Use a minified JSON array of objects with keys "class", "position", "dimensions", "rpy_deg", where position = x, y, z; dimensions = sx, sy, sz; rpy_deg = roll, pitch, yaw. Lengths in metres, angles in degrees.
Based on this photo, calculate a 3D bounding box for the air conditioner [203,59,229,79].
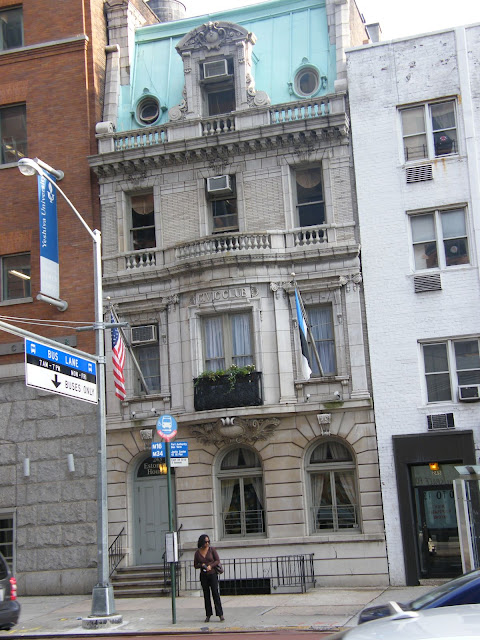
[{"class":"air conditioner","position":[-0.687,-7.351,33.744],"dimensions":[1.010,0.661,0.529],"rpy_deg":[1,4,18]}]

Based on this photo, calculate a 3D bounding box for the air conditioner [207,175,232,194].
[{"class":"air conditioner","position":[-0.597,-3.882,32.457],"dimensions":[0.722,0.599,0.731],"rpy_deg":[-4,-9,0]}]

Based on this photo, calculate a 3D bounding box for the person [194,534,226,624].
[{"class":"person","position":[-0.656,5.485,24.145],"dimensions":[0.583,1.758,1.228],"rpy_deg":[-4,-9,-2]}]
